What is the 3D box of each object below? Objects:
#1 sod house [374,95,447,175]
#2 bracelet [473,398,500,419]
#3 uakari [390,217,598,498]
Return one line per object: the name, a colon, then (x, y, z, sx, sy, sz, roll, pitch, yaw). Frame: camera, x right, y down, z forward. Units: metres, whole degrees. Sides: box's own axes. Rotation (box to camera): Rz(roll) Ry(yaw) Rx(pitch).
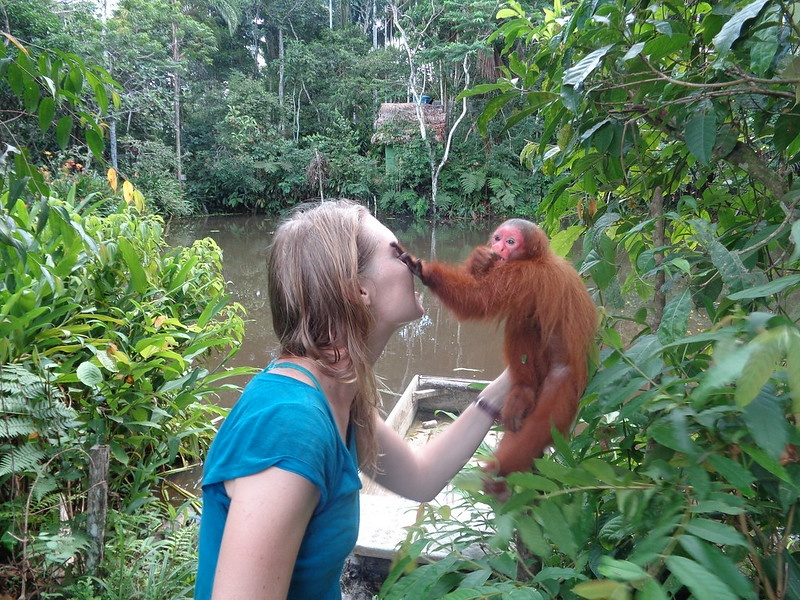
sod house: (0.293, -4.952, 21.082, 2.224, 2.265, 2.371, -2, 10, -5)
bracelet: (0.238, 0.298, 1.891, 0.057, 0.061, 0.061, 36, 65, 28)
uakari: (0.238, 0.161, 1.666, 0.475, 0.705, 0.289, 4, -7, 8)
